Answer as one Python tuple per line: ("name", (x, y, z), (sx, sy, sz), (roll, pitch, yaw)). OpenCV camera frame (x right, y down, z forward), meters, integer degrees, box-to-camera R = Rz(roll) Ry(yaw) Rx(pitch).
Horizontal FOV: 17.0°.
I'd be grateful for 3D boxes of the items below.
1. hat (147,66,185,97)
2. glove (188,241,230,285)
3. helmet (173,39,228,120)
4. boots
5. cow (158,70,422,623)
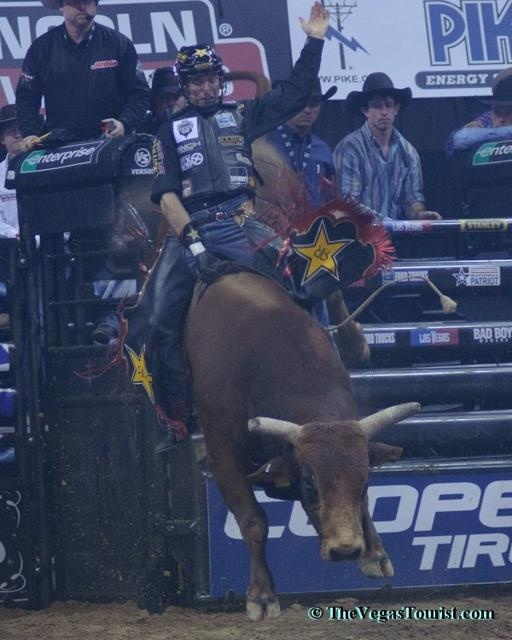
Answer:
("hat", (-0.590, -1.560, 11.130), (0.245, 0.277, 0.317), (-4, 11, -6))
("glove", (-0.272, -0.327, 9.806), (0.171, 0.257, 0.105), (-31, -12, -15))
("helmet", (-0.339, -1.447, 10.064), (0.290, 0.351, 0.366), (-12, 18, -25))
("boots", (-0.518, 0.466, 10.006), (0.132, 0.268, 0.487), (27, -54, -29))
("cow", (0.205, 0.679, 9.485), (0.650, 1.907, 1.244), (-7, 6, -34))
